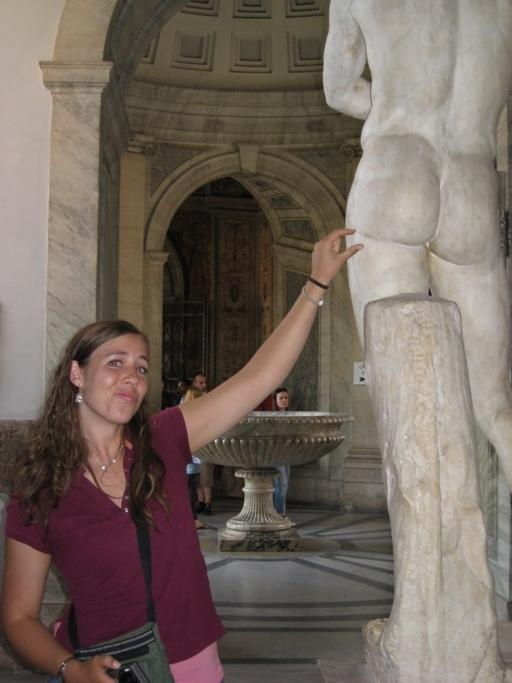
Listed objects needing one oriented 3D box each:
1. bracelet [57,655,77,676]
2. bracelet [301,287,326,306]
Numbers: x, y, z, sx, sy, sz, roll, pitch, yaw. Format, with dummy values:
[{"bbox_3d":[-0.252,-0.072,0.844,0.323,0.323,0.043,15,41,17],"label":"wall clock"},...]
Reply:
[{"bbox_3d":[-0.329,0.565,1.534,0.007,0.027,0.027,14,-15,11],"label":"bracelet"},{"bbox_3d":[0.124,-0.085,1.880,0.041,0.017,0.043,30,17,-4],"label":"bracelet"}]
